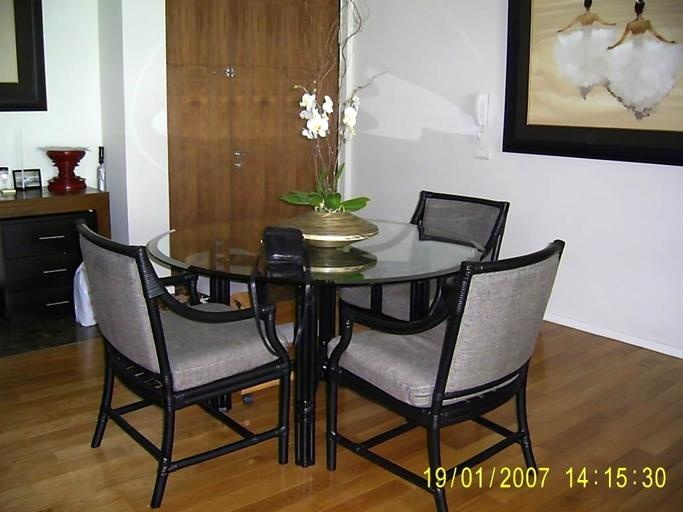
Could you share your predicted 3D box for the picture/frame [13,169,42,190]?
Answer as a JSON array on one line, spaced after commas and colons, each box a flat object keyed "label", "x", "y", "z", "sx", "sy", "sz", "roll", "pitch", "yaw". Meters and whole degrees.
[{"label": "picture/frame", "x": -2.437, "y": -0.593, "z": 4.061, "sx": 0.187, "sy": 0.141, "sz": 0.156, "roll": -11, "pitch": 21, "yaw": -32}]
